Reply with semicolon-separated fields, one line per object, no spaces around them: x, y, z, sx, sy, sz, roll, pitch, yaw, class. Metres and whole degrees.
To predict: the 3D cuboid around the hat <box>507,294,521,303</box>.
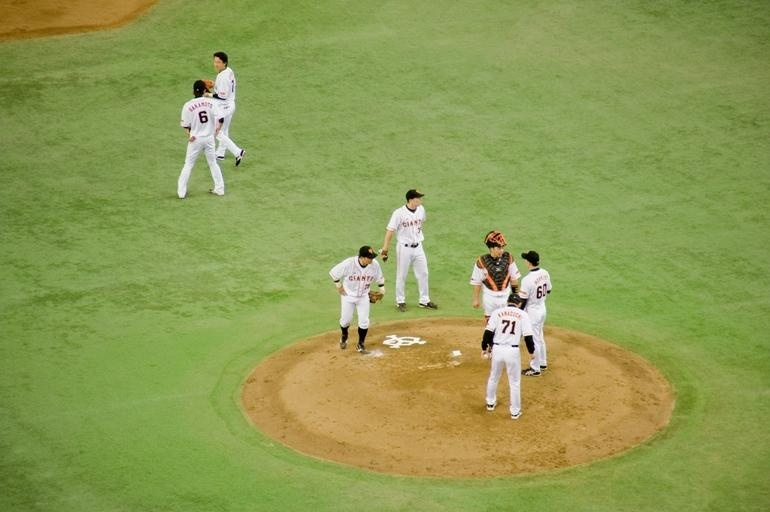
2.588;0.864;24.212;0.206;0.188;0.170;2;7;-44;hat

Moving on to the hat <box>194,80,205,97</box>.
-4.510;-4.025;29.039;0.361;0.352;0.390;0;5;-7;hat

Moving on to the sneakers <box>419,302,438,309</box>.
0.990;1.142;27.522;0.397;0.133;0.148;0;10;13;sneakers

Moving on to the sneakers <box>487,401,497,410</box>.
2.146;3.023;24.323;0.196;0.154;0.404;0;3;4;sneakers

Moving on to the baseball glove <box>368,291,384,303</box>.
-0.232;0.875;25.839;0.363;0.167;0.456;3;-3;0;baseball glove

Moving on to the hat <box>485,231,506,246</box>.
2.302;-0.358;25.255;0.352;0.331;0.412;0;48;8;hat

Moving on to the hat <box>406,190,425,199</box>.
0.670;-1.349;26.755;0.350;0.157;0.221;-13;13;5;hat

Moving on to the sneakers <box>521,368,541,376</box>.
3.064;2.431;25.223;0.420;0.152;0.150;4;9;5;sneakers

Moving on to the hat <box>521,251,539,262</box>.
2.993;0.023;24.898;0.317;0.148;0.219;27;45;30;hat

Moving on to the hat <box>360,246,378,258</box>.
-0.390;-0.065;25.347;0.403;0.191;0.242;0;33;8;hat
